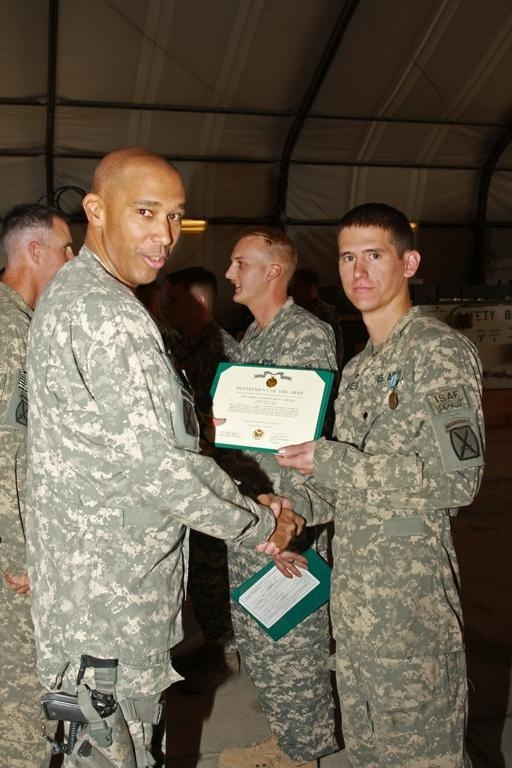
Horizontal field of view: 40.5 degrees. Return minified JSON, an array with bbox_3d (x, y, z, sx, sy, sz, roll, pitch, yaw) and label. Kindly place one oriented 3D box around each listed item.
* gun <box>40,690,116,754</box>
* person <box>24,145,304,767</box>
[{"bbox_3d":[-0.376,0.721,1.533,0.186,0.158,0.065,-1,8,23],"label":"gun"},{"bbox_3d":[-0.269,0.181,1.700,0.558,1.140,0.361,-3,2,-22],"label":"person"}]
